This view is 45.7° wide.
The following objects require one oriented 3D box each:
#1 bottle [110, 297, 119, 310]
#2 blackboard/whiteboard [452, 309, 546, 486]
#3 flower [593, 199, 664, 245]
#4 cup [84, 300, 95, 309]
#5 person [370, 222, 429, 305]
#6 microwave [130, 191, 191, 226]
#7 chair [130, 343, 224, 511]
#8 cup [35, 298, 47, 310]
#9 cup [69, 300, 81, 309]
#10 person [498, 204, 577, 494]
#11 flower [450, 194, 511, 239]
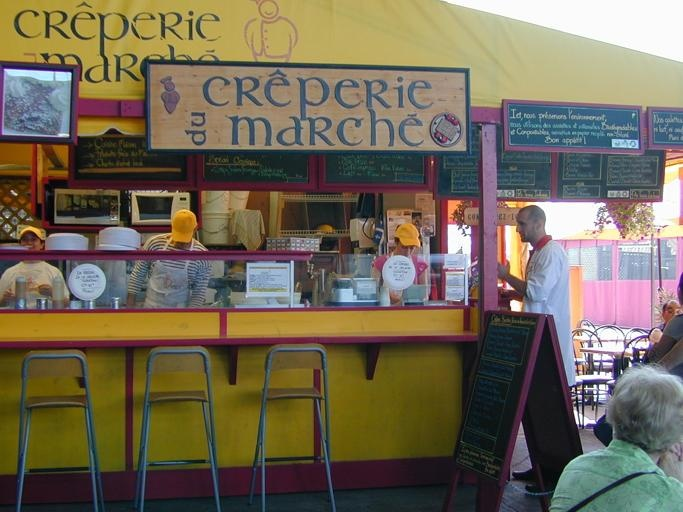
[{"bbox_3d":[-1.697,0.353,6.093,0.069,0.080,0.071,0,3,-22],"label":"bottle"},{"bbox_3d":[1.051,0.928,5.509,0.375,1.061,0.459,-3,6,-39],"label":"blackboard/whiteboard"},{"bbox_3d":[2.962,-0.402,8.396,0.411,0.441,0.480,12,5,-13],"label":"flower"},{"bbox_3d":[-1.886,0.365,6.081,0.065,0.075,0.067,1,3,0],"label":"cup"},{"bbox_3d":[0.480,0.070,6.875,0.544,0.943,0.488,3,-11,-11],"label":"person"},{"bbox_3d":[-1.936,-0.509,8.551,0.578,0.392,0.363,0,-1,-2],"label":"microwave"},{"bbox_3d":[-1.176,1.099,5.976,0.592,1.296,0.569,3,4,-26],"label":"chair"},{"bbox_3d":[-2.230,0.356,6.037,0.075,0.084,0.077,2,-2,0],"label":"cup"},{"bbox_3d":[-1.990,0.363,6.063,0.062,0.063,0.065,3,4,0],"label":"cup"},{"bbox_3d":[1.522,0.709,6.588,0.667,2.157,0.691,0,0,-10],"label":"person"},{"bbox_3d":[1.243,-0.388,7.374,0.406,0.506,0.474,0,5,-16],"label":"flower"}]
